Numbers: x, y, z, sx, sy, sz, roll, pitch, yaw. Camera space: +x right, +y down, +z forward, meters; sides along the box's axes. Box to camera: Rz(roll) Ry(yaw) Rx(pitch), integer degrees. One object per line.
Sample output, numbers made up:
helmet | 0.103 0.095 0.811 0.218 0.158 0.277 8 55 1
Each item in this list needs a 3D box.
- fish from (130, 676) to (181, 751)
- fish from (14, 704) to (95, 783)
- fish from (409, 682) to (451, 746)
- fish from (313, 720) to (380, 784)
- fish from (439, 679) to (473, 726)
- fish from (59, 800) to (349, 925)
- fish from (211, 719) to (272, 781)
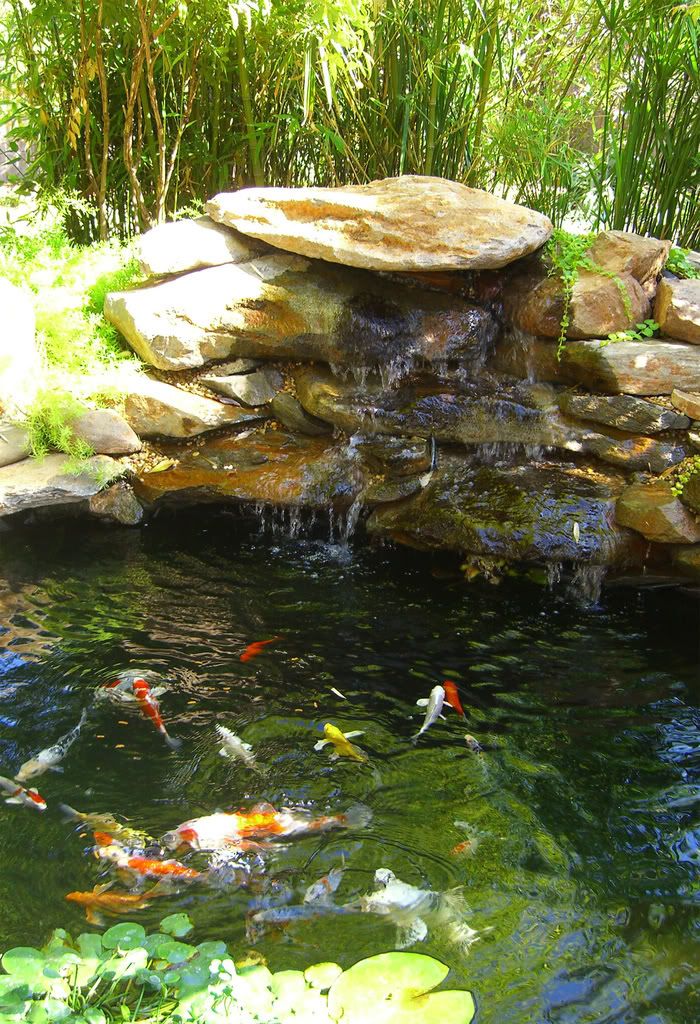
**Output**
fish | -0.821 0.862 3.824 0.058 0.105 0.244 -35 48 3
fish | -1.182 0.949 3.586 0.069 0.074 0.244 33 48 9
fish | 0.356 0.844 3.883 0.112 0.093 0.237 14 39 7
fish | -0.011 0.965 3.659 0.257 0.106 0.176 41 60 14
fish | 0.464 0.829 3.991 0.081 0.080 0.151 16 28 -18
fish | -0.485 1.180 3.159 0.965 0.279 0.391 -2 2 2
fish | -0.446 0.957 3.642 0.160 0.089 0.328 -6 33 -37
